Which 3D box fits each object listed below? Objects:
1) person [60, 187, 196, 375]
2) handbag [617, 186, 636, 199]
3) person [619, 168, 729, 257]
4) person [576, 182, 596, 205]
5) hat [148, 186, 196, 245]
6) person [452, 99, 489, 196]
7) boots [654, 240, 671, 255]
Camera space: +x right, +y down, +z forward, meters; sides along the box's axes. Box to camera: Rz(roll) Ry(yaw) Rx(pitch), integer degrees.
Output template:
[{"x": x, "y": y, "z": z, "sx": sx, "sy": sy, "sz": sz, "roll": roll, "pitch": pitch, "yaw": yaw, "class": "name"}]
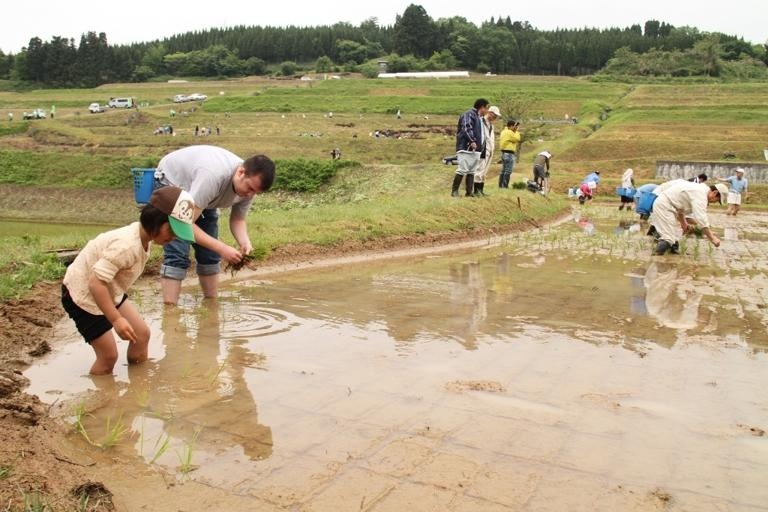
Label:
[{"x": -2.356, "y": 0.237, "z": 5.506, "sx": 1.134, "sy": 1.759, "sz": 0.614, "roll": -5, "pitch": 16, "yaw": -26, "class": "person"}, {"x": 8.212, "y": -2.138, "z": 20.026, "sx": 0.483, "sy": 0.243, "sz": 0.542, "roll": 8, "pitch": 3, "yaw": 28, "class": "handbag"}, {"x": 6.003, "y": -0.826, "z": 11.833, "sx": 1.228, "sy": 1.353, "sz": 2.563, "roll": 8, "pitch": 14, "yaw": 24, "class": "person"}, {"x": 7.975, "y": -2.491, "z": 23.277, "sx": 0.549, "sy": 0.814, "sz": 1.808, "roll": 7, "pitch": 13, "yaw": 19, "class": "person"}, {"x": -1.957, "y": -0.395, "z": 5.453, "sx": 0.376, "sy": 0.474, "sz": 0.271, "roll": -3, "pitch": 15, "yaw": -19, "class": "hat"}, {"x": 2.062, "y": -2.616, "z": 14.262, "sx": 0.718, "sy": 2.340, "sz": 1.238, "roll": 4, "pitch": 15, "yaw": 8, "class": "person"}, {"x": 5.347, "y": -0.180, "z": 11.338, "sx": 0.283, "sy": 0.241, "sz": 0.556, "roll": 9, "pitch": 14, "yaw": 26, "class": "boots"}]
